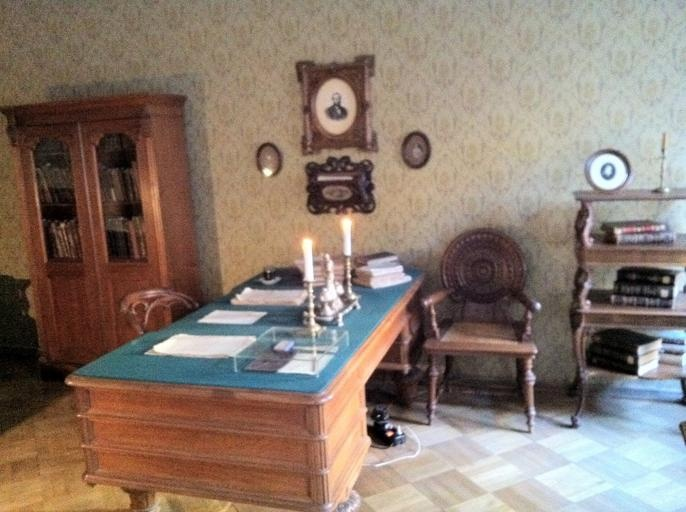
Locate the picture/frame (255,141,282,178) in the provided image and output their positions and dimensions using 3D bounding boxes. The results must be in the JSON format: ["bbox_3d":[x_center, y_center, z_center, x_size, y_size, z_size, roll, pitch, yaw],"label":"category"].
[{"bbox_3d":[-0.583,-0.756,4.303,0.260,0.232,0.051,5,9,18],"label":"picture/frame"}]

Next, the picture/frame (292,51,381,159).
[{"bbox_3d":[-0.028,-1.147,4.141,0.911,0.927,0.074,1,16,13],"label":"picture/frame"}]

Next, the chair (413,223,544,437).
[{"bbox_3d":[0.936,0.461,3.800,0.728,1.288,0.564,0,8,14],"label":"chair"}]

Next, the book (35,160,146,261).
[{"bbox_3d":[-1.957,-0.389,4.365,0.923,0.691,0.090,0,9,7],"label":"book"}]

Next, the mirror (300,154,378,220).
[{"bbox_3d":[-0.013,-0.544,4.223,0.625,0.467,0.048,2,14,9],"label":"mirror"}]
